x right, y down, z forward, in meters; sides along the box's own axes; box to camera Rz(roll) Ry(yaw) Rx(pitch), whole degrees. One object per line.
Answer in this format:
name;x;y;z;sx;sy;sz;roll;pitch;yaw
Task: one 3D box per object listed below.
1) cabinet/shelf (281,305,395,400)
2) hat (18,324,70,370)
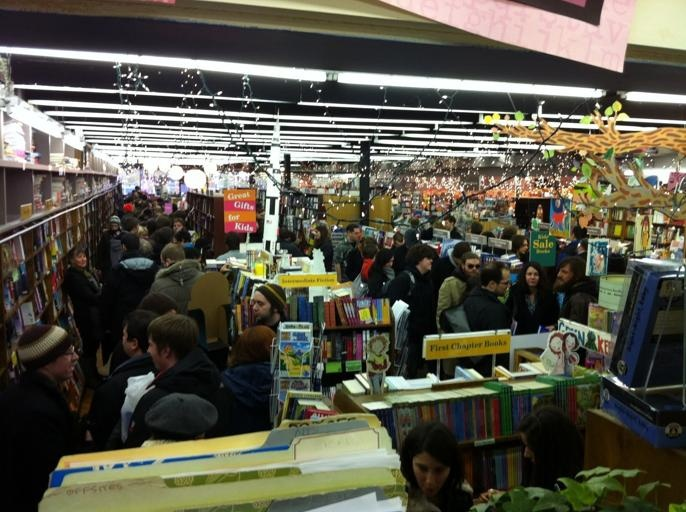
cabinet/shelf;-0.065;0.796;4.408;0.870;0.953;0.480;0;2;-14
hat;-1.932;0.544;3.352;0.261;0.234;0.279;3;12;-12
